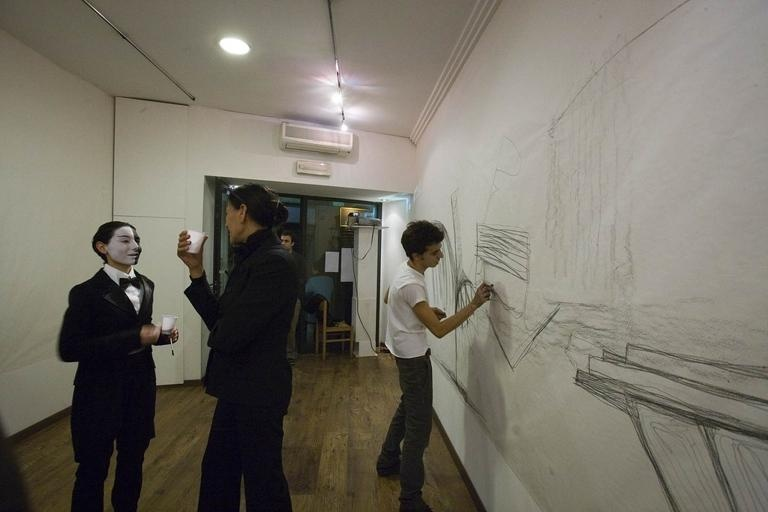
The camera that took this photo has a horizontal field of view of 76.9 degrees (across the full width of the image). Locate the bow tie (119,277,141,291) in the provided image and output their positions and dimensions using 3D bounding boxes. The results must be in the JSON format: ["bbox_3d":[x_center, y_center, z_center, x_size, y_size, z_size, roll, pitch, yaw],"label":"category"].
[{"bbox_3d":[-1.614,0.175,3.047,0.020,0.073,0.089,-2,0,38],"label":"bow tie"}]

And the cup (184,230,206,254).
[{"bbox_3d":[-1.147,-0.089,3.010,0.122,0.147,0.124,2,-1,0],"label":"cup"}]

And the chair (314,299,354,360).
[{"bbox_3d":[-0.612,0.849,5.860,0.487,0.683,0.491,-1,-2,7],"label":"chair"}]

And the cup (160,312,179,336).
[{"bbox_3d":[-1.375,0.422,3.117,0.120,0.128,0.125,14,7,-2],"label":"cup"}]

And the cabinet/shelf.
[{"bbox_3d":[-0.255,0.385,5.979,0.440,1.536,0.487,0,-8,-14],"label":"cabinet/shelf"}]

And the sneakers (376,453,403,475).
[{"bbox_3d":[0.031,1.508,3.587,0.184,0.204,0.118,1,3,-5],"label":"sneakers"}]

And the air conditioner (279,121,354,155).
[{"bbox_3d":[-0.693,-1.240,5.082,0.726,0.325,0.182,6,21,-8],"label":"air conditioner"}]
